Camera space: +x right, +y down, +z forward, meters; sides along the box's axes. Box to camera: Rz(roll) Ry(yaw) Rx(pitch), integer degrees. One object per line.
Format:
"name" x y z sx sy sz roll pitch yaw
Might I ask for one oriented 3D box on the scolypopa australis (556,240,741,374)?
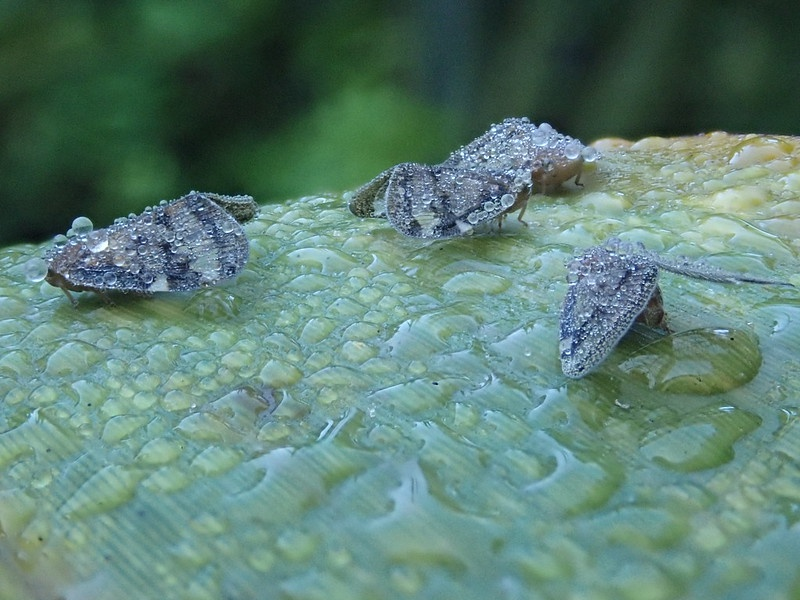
"scolypopa australis" 0.222 0.024 0.709 0.135 0.038 0.125 19 65 39

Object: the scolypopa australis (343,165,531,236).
"scolypopa australis" 0.054 -0.127 0.877 0.159 0.040 0.105 -6 26 -17

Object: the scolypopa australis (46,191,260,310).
"scolypopa australis" -0.255 -0.033 0.842 0.181 0.052 0.121 -25 44 0
